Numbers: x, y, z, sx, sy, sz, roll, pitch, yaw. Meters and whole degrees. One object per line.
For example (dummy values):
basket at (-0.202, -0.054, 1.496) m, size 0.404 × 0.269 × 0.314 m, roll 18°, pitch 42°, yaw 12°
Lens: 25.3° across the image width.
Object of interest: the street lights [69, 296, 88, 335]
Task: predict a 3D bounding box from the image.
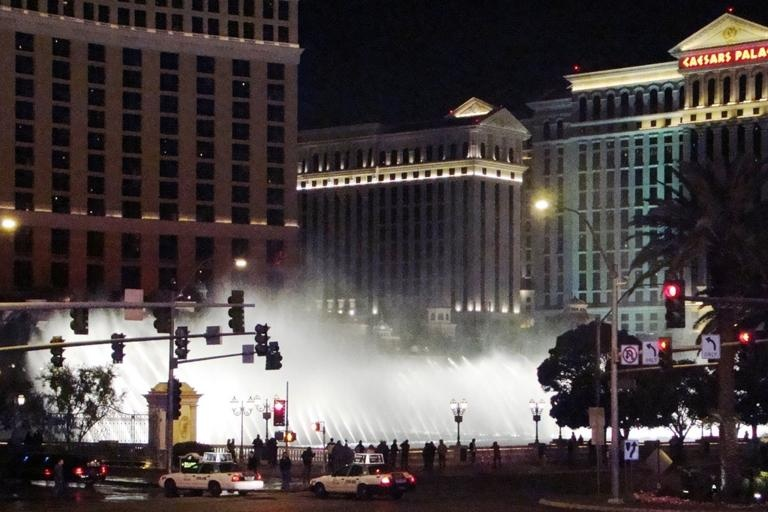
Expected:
street lights at (-21.092, 4.570, 119.229) m, size 0.958 × 1.683 × 0.826 m, roll 2°, pitch -12°, yaw -20°

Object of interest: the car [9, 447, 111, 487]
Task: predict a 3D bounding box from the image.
car at (-25.189, 16.479, 132.148) m, size 7.589 × 2.866 × 1.986 m, roll -7°, pitch -12°, yaw 23°
